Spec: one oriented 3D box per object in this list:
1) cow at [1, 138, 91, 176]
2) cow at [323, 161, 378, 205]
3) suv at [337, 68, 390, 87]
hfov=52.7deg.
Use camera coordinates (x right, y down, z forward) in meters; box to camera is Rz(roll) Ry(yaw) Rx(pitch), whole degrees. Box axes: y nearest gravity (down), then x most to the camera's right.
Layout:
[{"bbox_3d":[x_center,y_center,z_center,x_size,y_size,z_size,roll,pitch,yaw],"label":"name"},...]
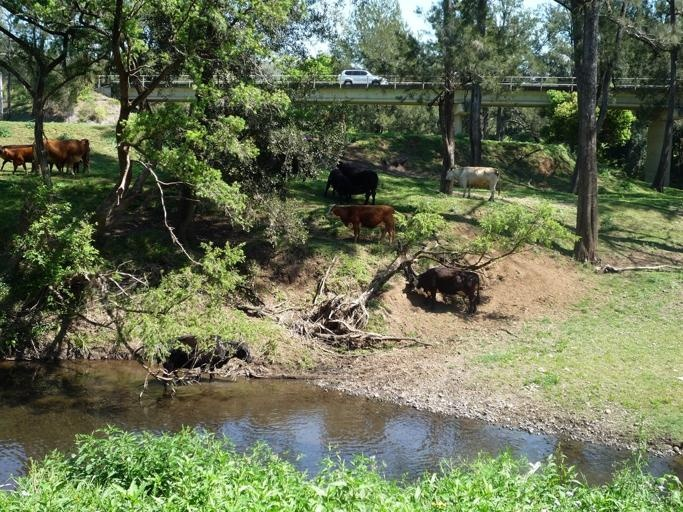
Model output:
[{"bbox_3d":[-14.340,-4.990,34.113,3.625,1.685,3.150,6,13,18],"label":"cow"},{"bbox_3d":[0.704,-3.565,34.607,1.269,2.173,3.855,-14,29,-38],"label":"cow"},{"bbox_3d":[1.437,-13.587,51.206,3.376,1.531,1.759,-1,10,-3],"label":"suv"}]
